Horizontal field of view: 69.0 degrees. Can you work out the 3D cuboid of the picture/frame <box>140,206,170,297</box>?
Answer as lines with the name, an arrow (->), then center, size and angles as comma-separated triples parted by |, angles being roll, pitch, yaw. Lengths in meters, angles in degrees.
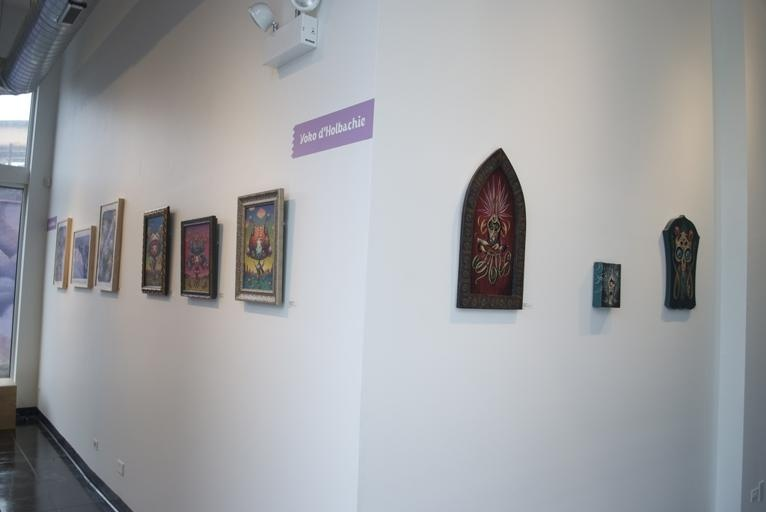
picture/frame -> -2.356, -0.030, 5.826 | 0.075, 1.050, 0.803 | 4, -7, -37

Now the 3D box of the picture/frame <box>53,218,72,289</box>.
picture/frame -> -4.713, -0.011, 8.252 | 0.102, 1.188, 0.909 | 5, -7, -30

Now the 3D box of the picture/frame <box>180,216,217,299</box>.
picture/frame -> -1.682, 0.030, 5.143 | 0.103, 0.869, 0.609 | 7, -12, -43

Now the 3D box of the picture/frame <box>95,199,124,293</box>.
picture/frame -> -3.286, -0.093, 6.754 | 0.135, 1.486, 1.025 | 6, -6, -36

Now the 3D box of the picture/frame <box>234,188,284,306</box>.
picture/frame -> -0.992, -0.059, 4.497 | 0.604, 0.900, 0.080 | -2, -5, 44

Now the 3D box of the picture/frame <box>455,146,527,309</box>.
picture/frame -> 0.813, -0.202, 4.170 | 0.568, 1.188, 0.116 | 3, -4, -29
